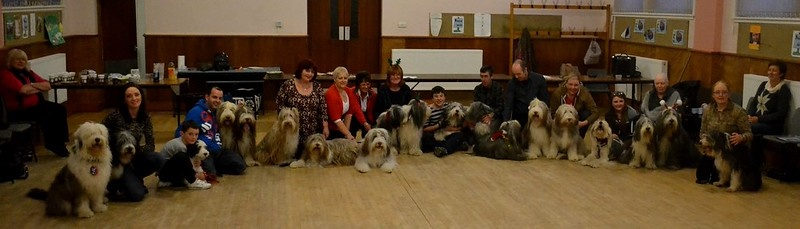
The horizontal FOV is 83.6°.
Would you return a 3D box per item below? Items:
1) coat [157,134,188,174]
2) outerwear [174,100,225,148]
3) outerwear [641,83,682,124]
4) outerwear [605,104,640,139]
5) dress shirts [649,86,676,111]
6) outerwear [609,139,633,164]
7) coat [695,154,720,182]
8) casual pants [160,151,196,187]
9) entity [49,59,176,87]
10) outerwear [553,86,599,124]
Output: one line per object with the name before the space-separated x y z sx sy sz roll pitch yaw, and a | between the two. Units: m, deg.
coat | -8.155 1.214 15.863 0.832 0.652 0.421 25 -5 24
outerwear | -7.164 0.356 16.206 1.201 1.492 1.893 0 -14 35
outerwear | 10.362 -0.388 17.688 1.072 1.265 1.613 -6 6 -21
outerwear | 8.429 0.320 17.021 1.880 1.251 0.845 -1 4 0
dress shirts | 10.213 -0.655 17.622 1.130 0.413 0.884 -40 53 -20
outerwear | 8.279 1.352 16.767 1.020 0.776 0.378 6 -9 13
coat | 11.342 1.855 16.136 0.775 0.939 0.918 17 23 30
casual pants | -7.734 1.895 15.619 1.485 0.446 1.112 -9 35 -17
entity | -11.458 -1.425 18.093 4.805 0.735 1.095 -1 11 0
outerwear | 6.809 -0.337 17.547 2.016 1.306 1.499 7 13 20
